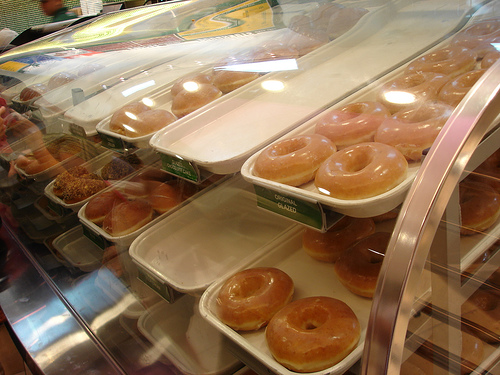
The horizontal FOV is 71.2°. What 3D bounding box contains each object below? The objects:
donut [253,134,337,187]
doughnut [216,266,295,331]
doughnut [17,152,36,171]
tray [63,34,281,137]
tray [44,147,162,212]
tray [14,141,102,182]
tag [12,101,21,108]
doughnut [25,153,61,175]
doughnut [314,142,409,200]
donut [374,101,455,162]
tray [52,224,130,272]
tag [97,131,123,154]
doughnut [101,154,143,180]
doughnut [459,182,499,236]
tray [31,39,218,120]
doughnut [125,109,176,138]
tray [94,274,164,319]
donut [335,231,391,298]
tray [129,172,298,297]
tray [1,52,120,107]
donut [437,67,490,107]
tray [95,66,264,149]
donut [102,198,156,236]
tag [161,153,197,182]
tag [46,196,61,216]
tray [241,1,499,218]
[{"bbox_3d":[0.141,-0.060,0.996,0.219,0.210,0.075,-12,81,-4],"label":"donut"},{"bbox_3d":[0.007,0.316,1.005,0.229,0.082,0.230,-19,15,4],"label":"doughnut"},{"bbox_3d":[-1.103,-0.123,1.752,0.103,0.033,0.095,-6,40,13],"label":"doughnut"},{"bbox_3d":[-0.288,-0.418,1.373,0.666,0.096,0.380,-27,33,-26],"label":"tray"},{"bbox_3d":[-0.567,0.007,1.455,0.455,0.066,0.258,-37,35,-13],"label":"tray"},{"bbox_3d":[-0.854,-0.081,1.603,0.308,0.040,0.200,-31,13,-28],"label":"tray"},{"bbox_3d":[-1.140,-0.399,1.708,0.028,0.029,0.007,6,71,48],"label":"tag"},{"bbox_3d":[-0.962,-0.106,1.622,0.137,0.042,0.117,-31,20,-15],"label":"doughnut"},{"bbox_3d":[0.245,-0.030,0.793,0.157,0.059,0.153,5,39,38],"label":"doughnut"},{"bbox_3d":[0.363,-0.126,0.792,0.137,0.050,0.133,-8,36,47],"label":"donut"},{"bbox_3d":[-0.647,0.260,1.480,0.245,0.055,0.243,14,36,40],"label":"tray"},{"bbox_3d":[-0.513,-0.162,1.288,0.101,0.036,0.067,26,41,29],"label":"tag"},{"bbox_3d":[-0.491,-0.062,1.363,0.139,0.041,0.096,-20,33,-4],"label":"doughnut"},{"bbox_3d":[0.420,0.039,0.649,0.090,0.026,0.084,2,68,8],"label":"doughnut"},{"bbox_3d":[-0.475,-0.424,1.391,0.647,0.049,0.184,-27,42,-7],"label":"tray"},{"bbox_3d":[-0.353,-0.220,1.221,0.118,0.037,0.121,-11,27,25],"label":"doughnut"},{"bbox_3d":[-0.468,0.372,1.261,0.141,0.049,0.205,-21,36,-36],"label":"tray"},{"bbox_3d":[0.271,0.185,0.867,0.119,0.168,0.112,8,45,22],"label":"donut"},{"bbox_3d":[-0.092,0.159,1.243,0.551,0.073,0.336,-34,41,-24],"label":"tray"},{"bbox_3d":[-0.883,-0.437,1.655,0.416,0.073,0.235,-35,42,-11],"label":"tray"},{"bbox_3d":[0.456,-0.217,0.757,0.109,0.028,0.107,-34,10,4],"label":"donut"},{"bbox_3d":[-0.256,-0.295,1.354,0.548,0.057,0.297,-34,42,-24],"label":"tray"},{"bbox_3d":[-0.453,0.112,1.294,0.186,0.077,0.137,-31,43,-21],"label":"donut"},{"bbox_3d":[-0.228,-0.063,1.110,0.110,0.029,0.102,21,30,14],"label":"tag"},{"bbox_3d":[-0.862,0.085,1.537,0.075,0.075,0.020,31,95,52],"label":"tag"},{"bbox_3d":[0.301,-0.195,0.911,0.307,0.060,0.863,24,47,36],"label":"tray"}]
